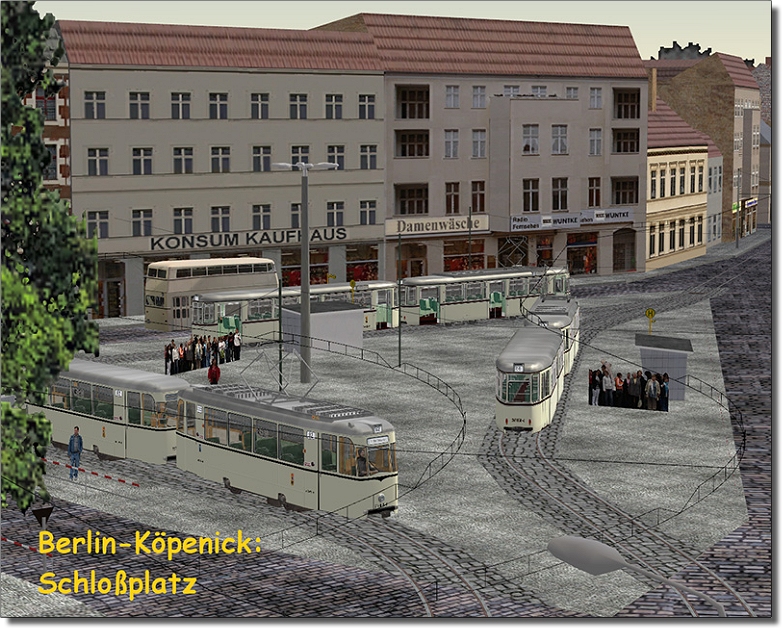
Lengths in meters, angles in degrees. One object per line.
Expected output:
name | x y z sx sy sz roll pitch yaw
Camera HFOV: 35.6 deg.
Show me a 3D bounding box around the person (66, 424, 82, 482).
person | -10.290 4.476 39.269 0.376 1.666 1.717 1 1 -15
